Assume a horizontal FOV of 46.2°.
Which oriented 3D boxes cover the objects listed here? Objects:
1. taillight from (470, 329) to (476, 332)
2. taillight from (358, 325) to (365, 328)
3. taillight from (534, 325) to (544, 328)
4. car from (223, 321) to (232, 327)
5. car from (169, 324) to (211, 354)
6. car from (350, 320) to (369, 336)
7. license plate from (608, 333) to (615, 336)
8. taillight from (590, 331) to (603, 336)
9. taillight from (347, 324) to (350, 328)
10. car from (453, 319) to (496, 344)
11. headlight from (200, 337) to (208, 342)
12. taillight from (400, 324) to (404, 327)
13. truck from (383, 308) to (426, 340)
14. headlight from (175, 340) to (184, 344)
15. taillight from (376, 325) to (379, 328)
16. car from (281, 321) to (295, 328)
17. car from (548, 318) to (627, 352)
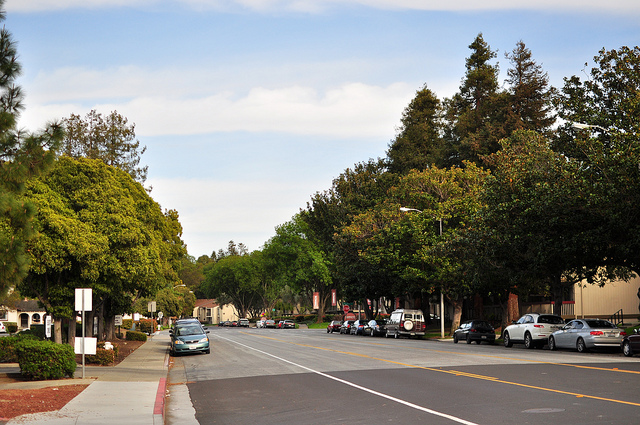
[{"bbox_3d":[10.983,8.444,54.064,0.208,0.128,0.153,0,1,30],"label":"taillight"},{"bbox_3d":[4.019,11.147,74.084,0.166,0.192,0.663,6,-11,-26],"label":"taillight"},{"bbox_3d":[13.649,7.047,46.715,0.483,0.158,0.114,-1,-9,15],"label":"taillight"},{"bbox_3d":[-17.528,20.978,142.211,0.925,0.797,2.209,1,-2,-19],"label":"car"},{"bbox_3d":[-8.052,7.823,46.597,2.176,1.683,1.324,5,-9,-20],"label":"car"},{"bbox_3d":[3.915,11.416,74.444,1.477,1.235,3.448,1,-3,-6],"label":"car"},{"bbox_3d":[16.027,6.685,41.354,0.346,0.145,0.035,1,-8,3],"label":"license plate"},{"bbox_3d":[15.272,6.656,41.512,0.622,0.245,0.105,-3,-9,27],"label":"taillight"},{"bbox_3d":[2.905,11.672,77.367,0.076,0.259,0.366,7,-11,-35],"label":"taillight"},{"bbox_3d":[11.249,8.668,54.788,1.885,1.736,3.204,6,-10,-24],"label":"car"},{"bbox_3d":[-7.216,7.852,46.529,0.197,0.281,0.699,-1,-10,21],"label":"headlight"},{"bbox_3d":[6.882,9.453,63.186,0.251,0.321,0.267,-2,-4,24],"label":"taillight"},{"bbox_3d":[7.262,9.287,64.225,1.790,1.765,3.428,2,-4,-11],"label":"truck"},{"bbox_3d":[-8.622,7.869,45.834,0.560,0.232,0.153,-1,-9,17],"label":"headlight"},{"bbox_3d":[5.235,10.421,68.958,0.220,0.167,0.136,2,-15,5],"label":"taillight"},{"bbox_3d":[-4.458,14.840,100.087,1.741,0.835,1.138,-2,-10,21],"label":"car"},{"bbox_3d":[15.196,7.006,42.795,1.401,1.815,4.316,6,-11,-24],"label":"car"}]
